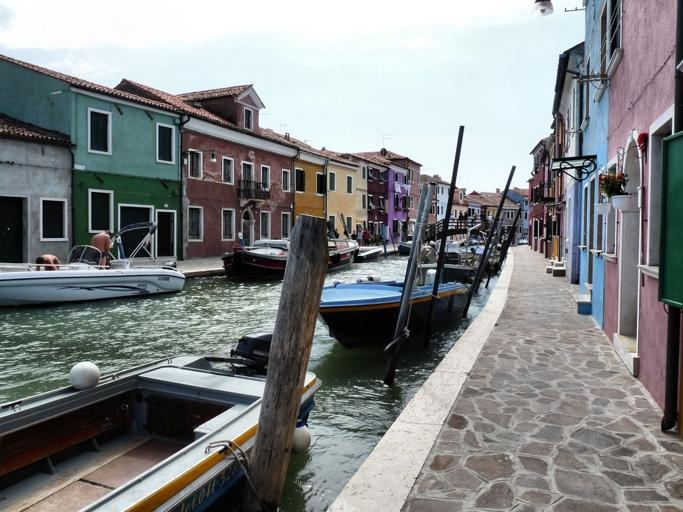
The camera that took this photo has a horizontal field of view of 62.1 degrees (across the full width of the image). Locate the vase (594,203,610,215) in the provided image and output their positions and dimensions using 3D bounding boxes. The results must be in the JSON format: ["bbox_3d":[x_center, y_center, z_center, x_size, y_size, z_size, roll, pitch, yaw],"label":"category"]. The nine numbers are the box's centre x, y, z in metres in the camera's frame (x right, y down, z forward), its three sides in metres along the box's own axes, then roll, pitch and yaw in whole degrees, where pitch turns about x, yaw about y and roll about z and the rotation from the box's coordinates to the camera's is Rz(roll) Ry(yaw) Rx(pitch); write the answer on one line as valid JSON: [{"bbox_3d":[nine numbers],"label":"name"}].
[{"bbox_3d":[4.134,-0.726,8.966,0.246,0.188,0.257,4,3,9],"label":"vase"}]

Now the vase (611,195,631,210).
[{"bbox_3d":[4.017,-0.752,8.172,0.256,0.245,0.298,2,7,25],"label":"vase"}]

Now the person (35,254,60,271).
[{"bbox_3d":[-7.820,0.261,15.135,0.546,0.432,1.790,-4,7,-29],"label":"person"}]

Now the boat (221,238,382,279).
[{"bbox_3d":[-1.823,0.185,24.937,2.087,1.254,8.605,2,0,24],"label":"boat"}]

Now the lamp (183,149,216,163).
[{"bbox_3d":[-6.781,-4.659,26.989,0.499,0.805,2.348,1,6,17],"label":"lamp"}]

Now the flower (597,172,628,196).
[{"bbox_3d":[3.901,-1.028,8.202,0.366,0.374,0.332,6,13,28],"label":"flower"}]
